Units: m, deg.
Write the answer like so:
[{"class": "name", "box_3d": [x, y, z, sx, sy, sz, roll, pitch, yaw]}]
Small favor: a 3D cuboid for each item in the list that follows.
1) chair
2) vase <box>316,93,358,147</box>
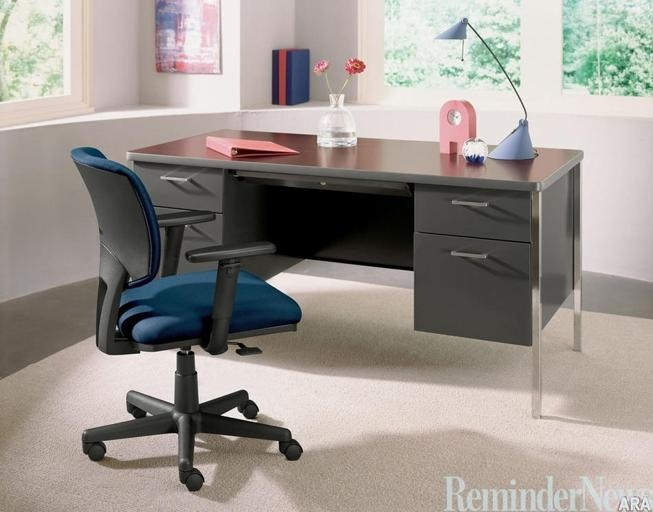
[{"class": "chair", "box_3d": [-0.457, 0.182, 1.876, 0.750, 0.965, 0.706, 5, 8, 11]}, {"class": "vase", "box_3d": [0.054, -0.704, 2.808, 0.248, 0.269, 0.247, 0, 10, -1]}]
